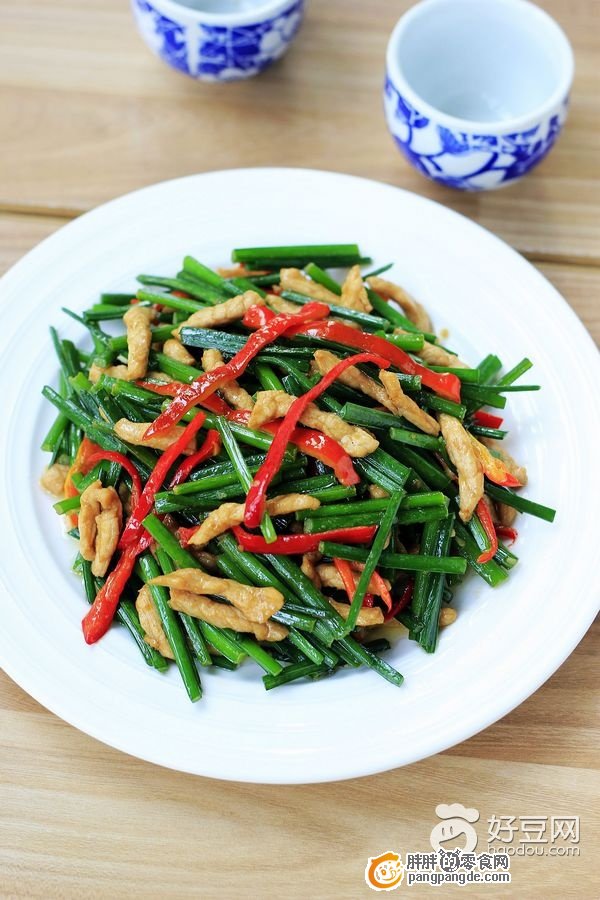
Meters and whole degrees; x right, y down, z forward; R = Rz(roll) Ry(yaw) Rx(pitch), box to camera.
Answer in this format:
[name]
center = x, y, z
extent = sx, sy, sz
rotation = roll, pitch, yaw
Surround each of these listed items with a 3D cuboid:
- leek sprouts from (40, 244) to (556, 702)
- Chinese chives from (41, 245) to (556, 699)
[leek sprouts]
center = 0.008, 0.092, 1.998
extent = 0.971, 0.262, 0.924
rotation = -1, 66, -2
[Chinese chives]
center = -0.069, 0.005, 2.048
extent = 1.201, 0.405, 1.249
rotation = -27, 62, -13
